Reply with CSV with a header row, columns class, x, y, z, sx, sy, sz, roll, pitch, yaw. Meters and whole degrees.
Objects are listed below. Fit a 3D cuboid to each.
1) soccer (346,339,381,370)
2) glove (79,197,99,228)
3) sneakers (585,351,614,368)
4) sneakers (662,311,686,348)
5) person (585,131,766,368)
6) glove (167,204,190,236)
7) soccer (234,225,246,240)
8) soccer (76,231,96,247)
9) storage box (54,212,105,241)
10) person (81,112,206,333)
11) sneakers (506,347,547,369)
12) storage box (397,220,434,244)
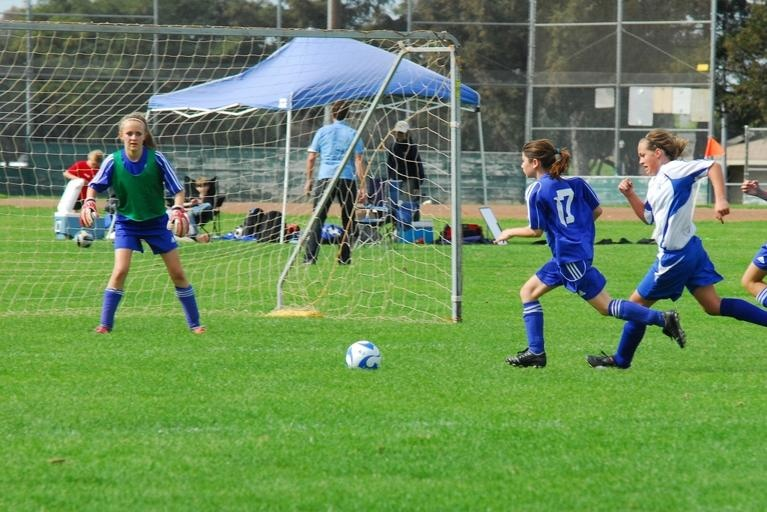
class,x,y,z,sx,sy,sz,roll,pitch,yaw
soccer,-0.184,0.941,9.255,0.327,0.248,0.173,0,3,-1
glove,-3.040,-0.408,10.080,0.220,0.295,0.127,6,-38,-42
sneakers,2.074,1.004,9.376,0.237,0.097,0.127,7,-1,9
sneakers,2.689,0.727,9.046,0.217,0.412,0.141,-11,39,18
person,2.814,-0.287,9.238,1.134,1.789,0.511,1,3,16
glove,-2.213,-0.348,10.732,0.292,0.284,0.358,-1,26,-14
soccer,-2.370,-0.374,16.317,0.087,0.212,0.162,15,-31,-31
soccer,-4.492,-0.243,14.899,0.230,0.225,0.253,-2,9,-2
storage box,-4.514,-0.409,14.496,0.548,0.298,0.273,-1,6,-12
person,-2.403,-0.297,10.021,1.412,2.103,0.795,0,3,-10
sneakers,1.379,0.995,9.401,0.436,0.194,0.147,2,-4,4
storage box,0.594,-0.365,15.925,0.483,0.275,0.445,0,-2,-20
